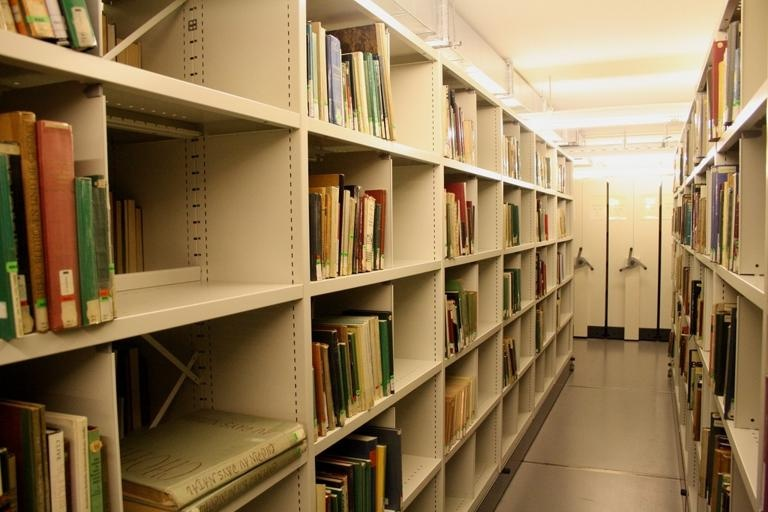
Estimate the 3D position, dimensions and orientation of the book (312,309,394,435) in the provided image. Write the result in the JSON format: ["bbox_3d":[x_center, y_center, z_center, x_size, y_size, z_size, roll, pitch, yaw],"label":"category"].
[{"bbox_3d":[-0.124,0.462,2.397,0.313,0.434,0.559,-3,-2,27],"label":"book"}]

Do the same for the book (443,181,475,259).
[{"bbox_3d":[0.425,-0.196,3.413,0.273,0.447,0.450,0,-2,13],"label":"book"}]

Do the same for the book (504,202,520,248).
[{"bbox_3d":[0.966,-0.226,4.523,0.186,0.348,0.350,0,0,14],"label":"book"}]

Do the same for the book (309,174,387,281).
[{"bbox_3d":[-0.153,-0.099,2.376,0.183,0.288,0.453,1,3,25],"label":"book"}]

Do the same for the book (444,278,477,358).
[{"bbox_3d":[0.430,0.367,3.384,0.185,0.502,0.498,0,0,20],"label":"book"}]
